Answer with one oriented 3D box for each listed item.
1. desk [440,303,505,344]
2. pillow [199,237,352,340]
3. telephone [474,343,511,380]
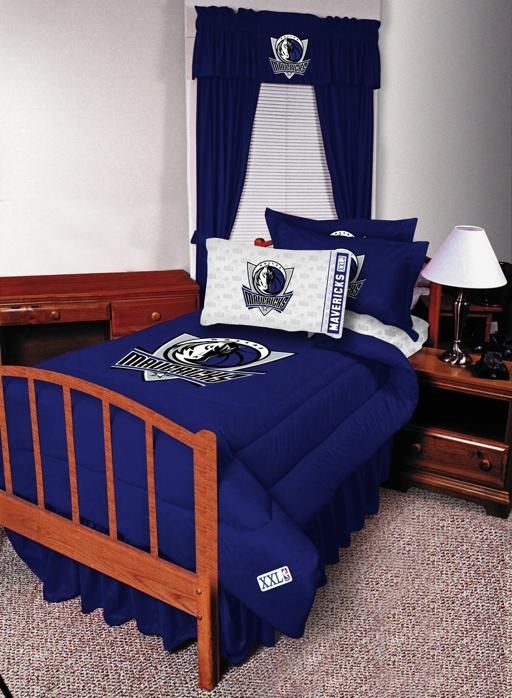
[{"bbox_3d":[0.984,-0.114,2.706,0.263,0.227,0.193,2,10,11],"label":"desk"},{"bbox_3d":[0.094,-0.239,2.509,0.460,0.263,0.065,7,-7,23],"label":"pillow"},{"bbox_3d":[0.931,0.054,2.332,0.106,0.093,0.181,5,12,28],"label":"telephone"}]
